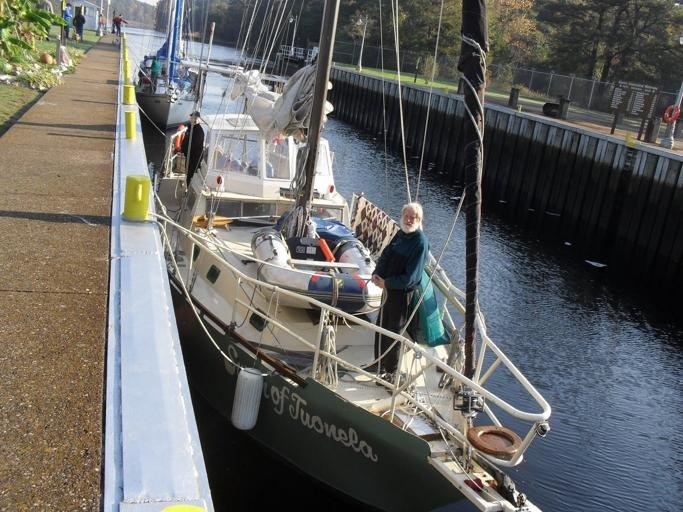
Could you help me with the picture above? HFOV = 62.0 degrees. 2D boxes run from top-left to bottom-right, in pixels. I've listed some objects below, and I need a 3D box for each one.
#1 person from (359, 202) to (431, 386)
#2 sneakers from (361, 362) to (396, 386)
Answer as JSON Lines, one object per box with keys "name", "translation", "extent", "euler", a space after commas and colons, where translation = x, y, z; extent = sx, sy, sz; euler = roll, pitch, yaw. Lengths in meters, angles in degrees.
{"name": "person", "translation": [0.551, 0.396, 6.013], "extent": [0.515, 1.937, 0.571], "euler": [13, 16, 15]}
{"name": "sneakers", "translation": [0.388, 1.264, 6.294], "extent": [0.161, 0.215, 0.484], "euler": [-20, 29, -32]}
